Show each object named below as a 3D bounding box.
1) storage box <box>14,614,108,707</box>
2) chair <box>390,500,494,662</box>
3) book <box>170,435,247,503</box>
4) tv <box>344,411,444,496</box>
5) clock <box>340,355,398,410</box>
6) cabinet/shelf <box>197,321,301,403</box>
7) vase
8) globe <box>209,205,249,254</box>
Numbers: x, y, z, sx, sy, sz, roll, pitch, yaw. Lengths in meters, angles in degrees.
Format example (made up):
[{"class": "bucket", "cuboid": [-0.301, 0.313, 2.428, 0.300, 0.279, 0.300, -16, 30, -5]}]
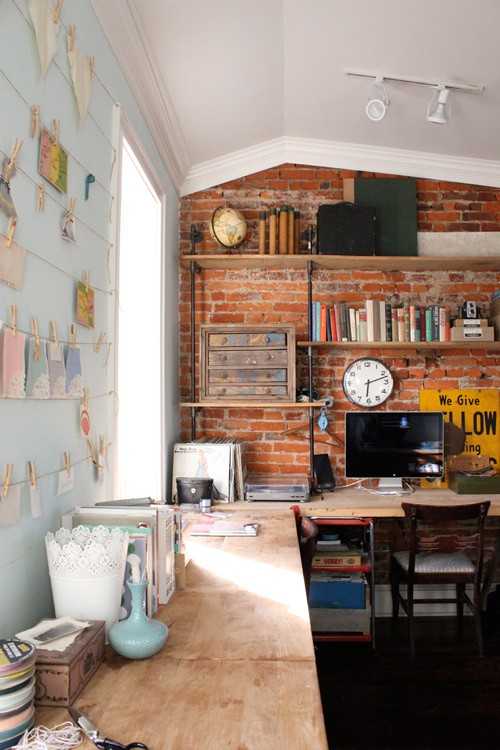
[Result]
[{"class": "storage box", "cuboid": [-0.317, 0.484, 1.018, 0.087, 0.052, 0.155, -1, 0, 2]}, {"class": "chair", "cuboid": [0.949, 0.944, 2.899, 0.509, 0.751, 0.824, 0, -2, 12]}, {"class": "book", "cuboid": [-0.206, 0.445, 2.979, 0.370, 0.371, 0.270, -1, -7, 1]}, {"class": "tv", "cuboid": [0.754, 0.394, 3.127, 0.506, 0.435, 0.171, -1, 5, 7]}, {"class": "clock", "cuboid": [0.650, 0.051, 3.250, 0.273, 0.300, 0.055, -1, -24, 11]}, {"class": "cabinet/shelf", "cuboid": [-0.015, -0.031, 3.057, 0.483, 0.410, 0.185, 0, -14, -4]}, {"class": "vase", "cuboid": [-0.229, 0.500, 1.191, 0.115, 0.156, 0.117, 1, 1, -3]}, {"class": "globe", "cuboid": [-0.118, -0.766, 3.139, 0.212, 0.261, 0.213, -3, 1, -2]}]
